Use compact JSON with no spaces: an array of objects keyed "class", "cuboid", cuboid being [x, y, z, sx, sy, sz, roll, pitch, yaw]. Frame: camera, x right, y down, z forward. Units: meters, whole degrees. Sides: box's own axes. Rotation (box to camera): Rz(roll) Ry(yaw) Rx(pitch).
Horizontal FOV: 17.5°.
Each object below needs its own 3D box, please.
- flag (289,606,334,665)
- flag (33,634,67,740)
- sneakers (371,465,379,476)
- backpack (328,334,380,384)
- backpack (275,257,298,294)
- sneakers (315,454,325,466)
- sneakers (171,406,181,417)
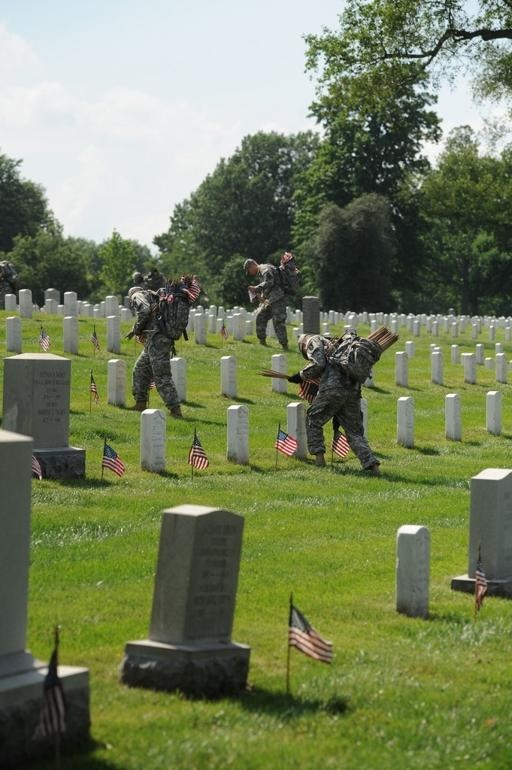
[{"class":"flag","cuboid":[0.490,2.264,14.795,0.488,0.560,0.080,37,-56,-20]},{"class":"flag","cuboid":[-1.491,2.224,12.354,0.254,0.815,0.069,-6,12,-42]},{"class":"sneakers","cuboid":[1.726,1.268,24.154,0.155,0.132,0.208,-12,2,0]},{"class":"backpack","cuboid":[1.456,-0.390,24.450,0.760,0.372,0.589,17,-33,56]},{"class":"backpack","cuboid":[0.736,-2.423,36.905,0.254,0.750,0.533,5,3,3]},{"class":"sneakers","cuboid":[0.959,1.138,24.567,0.144,0.175,0.156,0,2,2]},{"class":"sneakers","cuboid":[-1.259,0.464,26.367,0.108,0.193,0.186,1,-3,-31]}]
